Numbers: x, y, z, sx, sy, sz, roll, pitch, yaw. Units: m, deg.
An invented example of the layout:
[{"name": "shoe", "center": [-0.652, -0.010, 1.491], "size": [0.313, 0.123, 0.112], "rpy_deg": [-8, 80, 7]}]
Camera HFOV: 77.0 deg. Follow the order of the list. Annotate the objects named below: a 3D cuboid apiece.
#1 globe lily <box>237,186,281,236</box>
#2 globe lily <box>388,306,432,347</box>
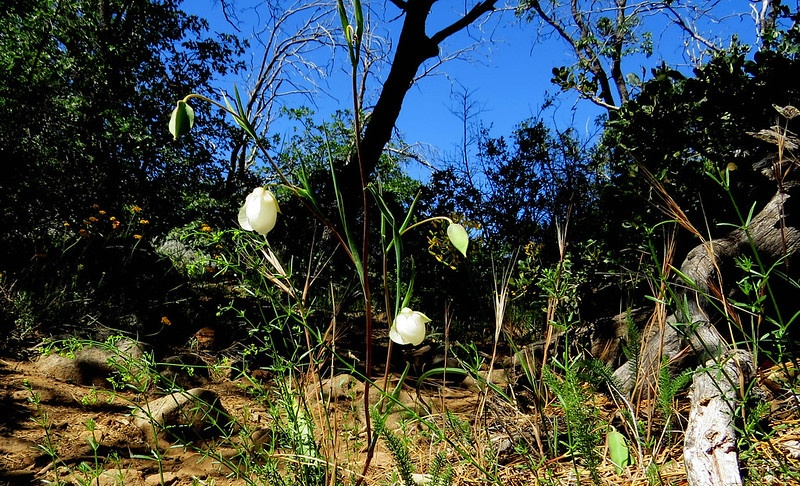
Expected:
[{"name": "globe lily", "center": [-1.059, -0.231, 3.892], "size": [0.277, 0.408, 0.294], "rpy_deg": [1, -2, 8]}, {"name": "globe lily", "center": [0.069, 0.607, 3.794], "size": [0.268, 0.309, 0.222], "rpy_deg": [8, -24, -6]}]
